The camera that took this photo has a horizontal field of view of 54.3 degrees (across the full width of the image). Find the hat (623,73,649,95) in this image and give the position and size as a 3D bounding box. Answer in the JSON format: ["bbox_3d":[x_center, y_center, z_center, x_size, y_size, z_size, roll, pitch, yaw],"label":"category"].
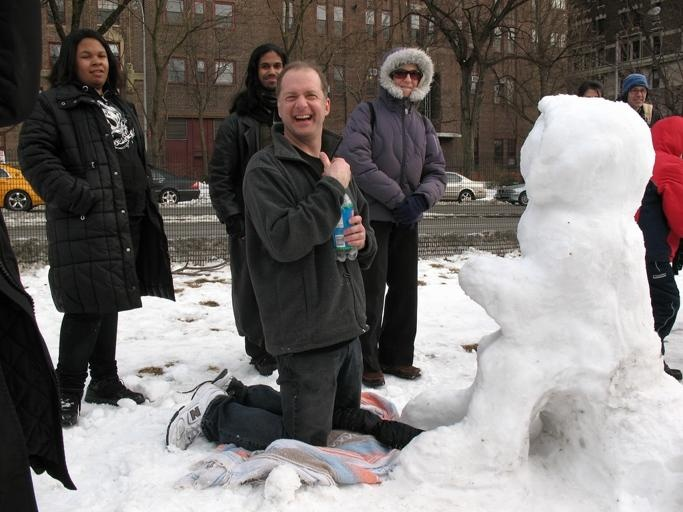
[{"bbox_3d":[2.889,-1.686,6.521,0.223,0.202,0.239,1,4,-4],"label":"hat"}]

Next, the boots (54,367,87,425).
[{"bbox_3d":[-1.843,0.993,4.517,0.147,0.220,0.472,-10,11,-13],"label":"boots"}]

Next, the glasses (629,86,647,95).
[{"bbox_3d":[2.881,-1.583,6.449,0.083,0.066,0.111,4,4,10],"label":"glasses"}]

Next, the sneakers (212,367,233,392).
[{"bbox_3d":[-0.815,0.855,4.555,0.146,0.074,0.109,-41,-3,8],"label":"sneakers"}]

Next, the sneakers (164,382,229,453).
[{"bbox_3d":[-0.912,1.014,4.288,0.227,0.534,0.189,29,-27,12],"label":"sneakers"}]

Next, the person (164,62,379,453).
[{"bbox_3d":[-0.224,0.007,4.005,0.931,2.316,0.621,-2,10,-9],"label":"person"}]

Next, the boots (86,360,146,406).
[{"bbox_3d":[-1.571,0.933,4.765,0.494,0.375,0.199,3,-4,-14],"label":"boots"}]
